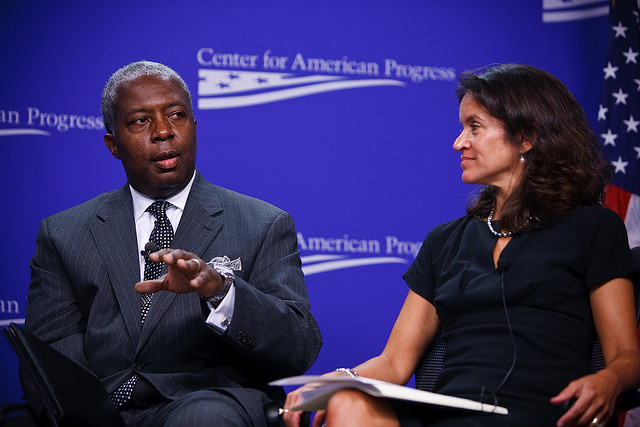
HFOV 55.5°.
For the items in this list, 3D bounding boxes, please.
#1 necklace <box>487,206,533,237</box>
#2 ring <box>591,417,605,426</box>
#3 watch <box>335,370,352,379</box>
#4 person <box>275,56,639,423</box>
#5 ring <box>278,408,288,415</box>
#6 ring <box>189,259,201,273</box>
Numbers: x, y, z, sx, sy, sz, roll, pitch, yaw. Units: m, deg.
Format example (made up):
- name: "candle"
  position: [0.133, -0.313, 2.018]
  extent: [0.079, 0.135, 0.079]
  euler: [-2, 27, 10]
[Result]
- name: "necklace"
  position: [0.930, 0.041, 3.018]
  extent: [0.099, 0.138, 0.230]
  euler: [-6, 3, -35]
- name: "ring"
  position: [1.186, 0.878, 2.588]
  extent: [0.034, 0.047, 0.014]
  euler: [-46, -3, -10]
- name: "watch"
  position: [0.115, 0.729, 2.817]
  extent: [0.061, 0.023, 0.078]
  euler: [33, 9, 31]
- name: "person"
  position: [0.790, 0.092, 2.855]
  extent: [1.426, 1.675, 0.847]
  euler: [-4, 3, 0]
- name: "ring"
  position: [-0.161, 0.877, 2.729]
  extent: [0.041, 0.024, 0.030]
  euler: [2, -6, 6]
- name: "ring"
  position: [-0.543, 0.224, 2.675]
  extent: [0.024, 0.060, 0.042]
  euler: [-3, 3, 12]
